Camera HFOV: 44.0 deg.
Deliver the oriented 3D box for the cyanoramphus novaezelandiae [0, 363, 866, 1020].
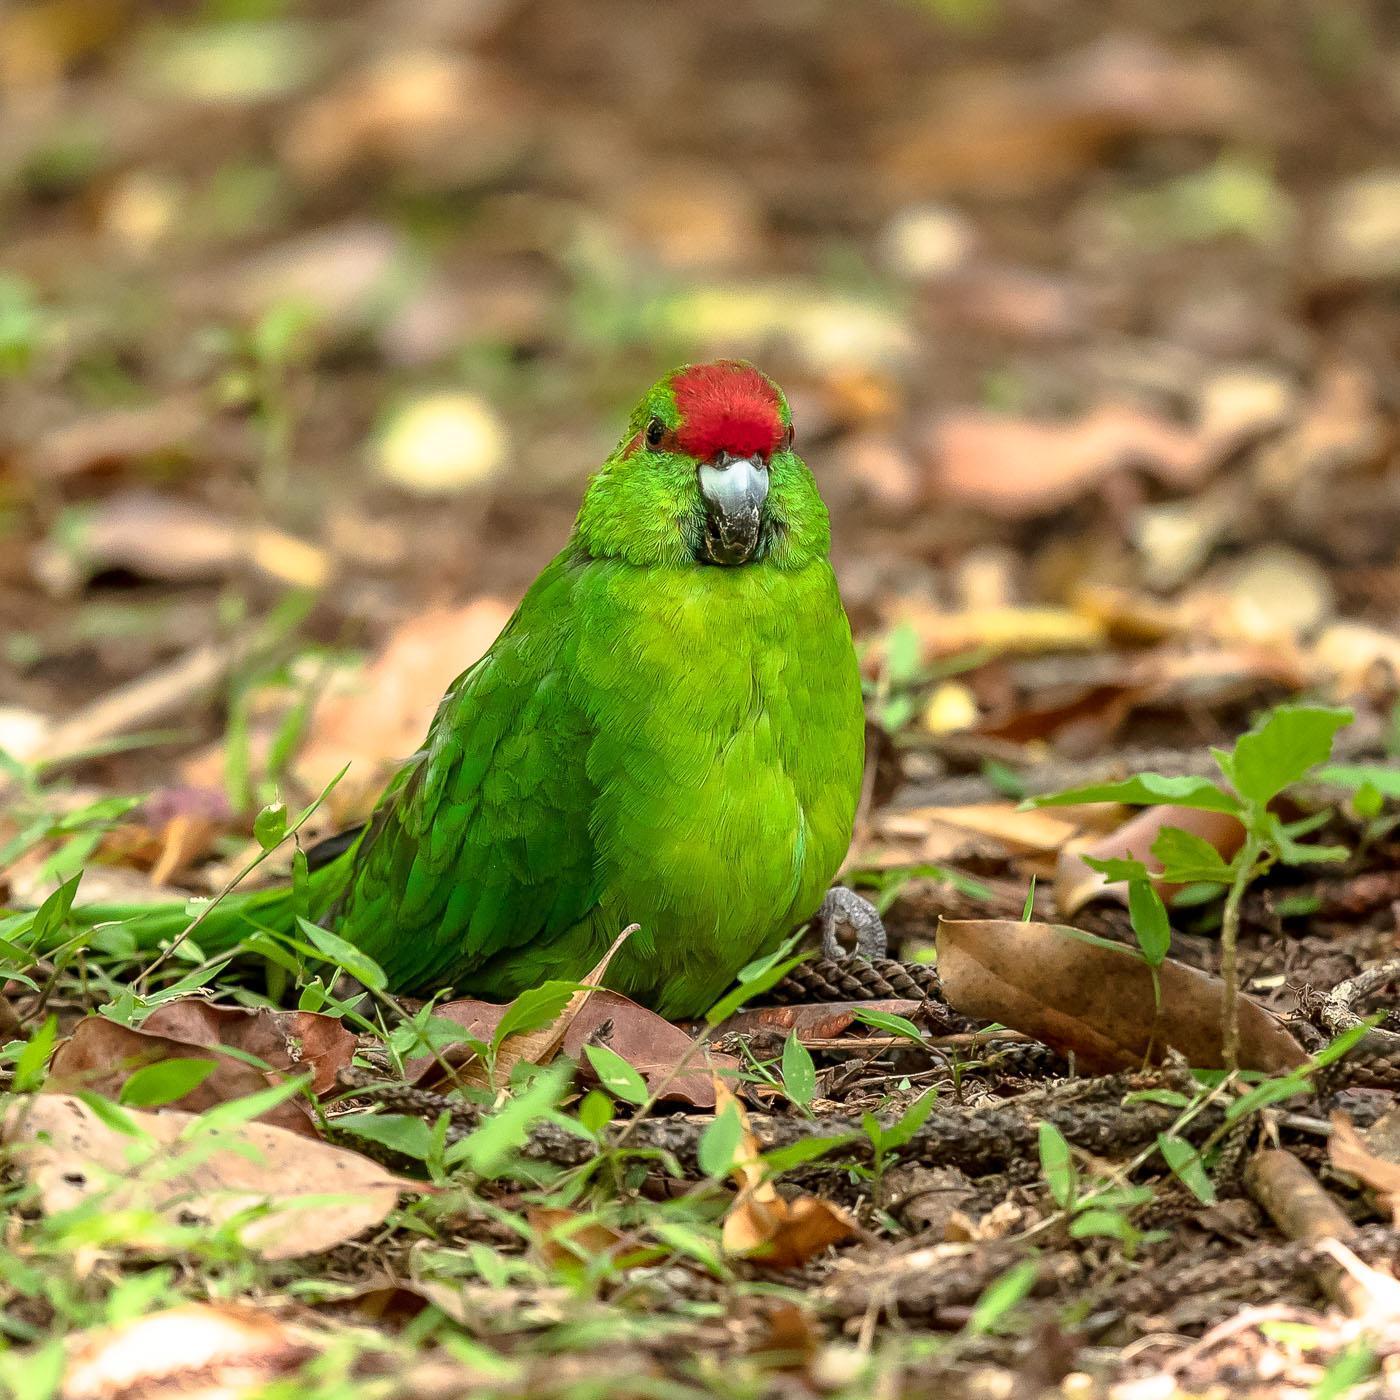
[{"bbox_3d":[-0.212,0.005,2.589,0.902,0.924,0.623,-10,21,4],"label":"cyanoramphus novaezelandiae"}]
